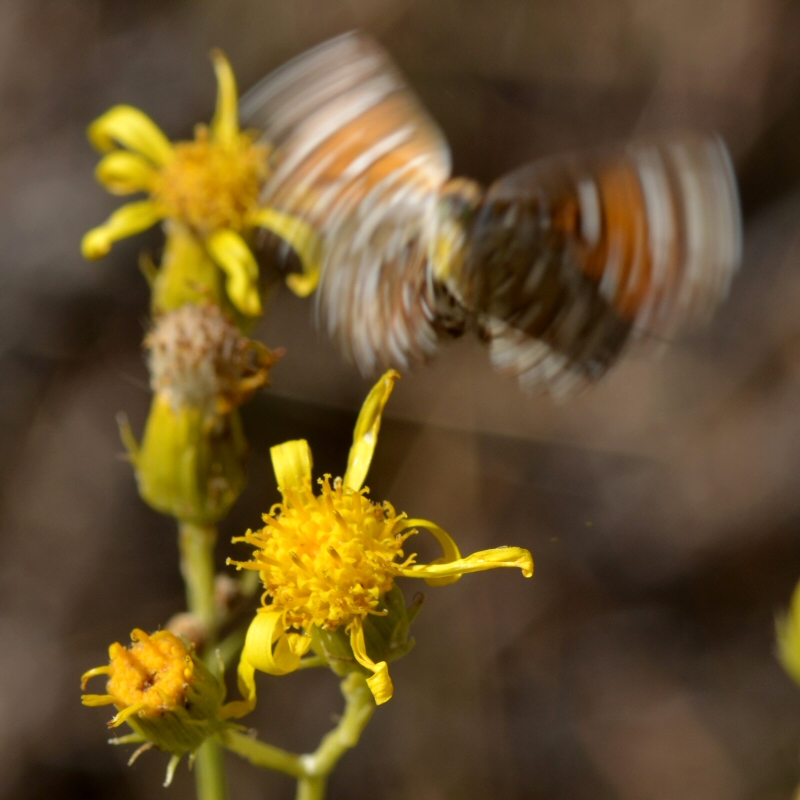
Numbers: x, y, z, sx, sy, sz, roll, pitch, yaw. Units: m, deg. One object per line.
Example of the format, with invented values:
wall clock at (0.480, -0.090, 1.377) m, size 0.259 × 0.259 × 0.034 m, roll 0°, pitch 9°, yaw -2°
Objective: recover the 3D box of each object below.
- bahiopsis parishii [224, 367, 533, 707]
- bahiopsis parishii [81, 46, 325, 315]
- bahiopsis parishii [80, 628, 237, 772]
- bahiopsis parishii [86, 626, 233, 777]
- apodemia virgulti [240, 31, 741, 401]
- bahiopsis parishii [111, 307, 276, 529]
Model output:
bahiopsis parishii at (-0.047, 0.208, 1.587) m, size 0.326 × 0.466 × 0.557 m, roll -1°, pitch 112°, yaw -1°
bahiopsis parishii at (-0.342, -0.291, 1.712) m, size 0.335 × 0.118 × 0.418 m, roll -27°, pitch 77°, yaw -4°
bahiopsis parishii at (-0.319, 0.404, 1.466) m, size 0.190 × 0.084 × 0.197 m, roll -40°, pitch 89°, yaw -8°
bahiopsis parishii at (-0.329, 0.398, 1.457) m, size 0.149 × 0.101 × 0.187 m, roll -35°, pitch 77°, yaw -5°
apodemia virgulti at (0.171, -0.288, 1.701) m, size 0.862 × 0.499 × 0.444 m, roll 13°, pitch 64°, yaw 14°
bahiopsis parishii at (-0.322, 0.011, 1.688) m, size 0.244 × 0.163 × 0.343 m, roll 10°, pitch 106°, yaw 11°
